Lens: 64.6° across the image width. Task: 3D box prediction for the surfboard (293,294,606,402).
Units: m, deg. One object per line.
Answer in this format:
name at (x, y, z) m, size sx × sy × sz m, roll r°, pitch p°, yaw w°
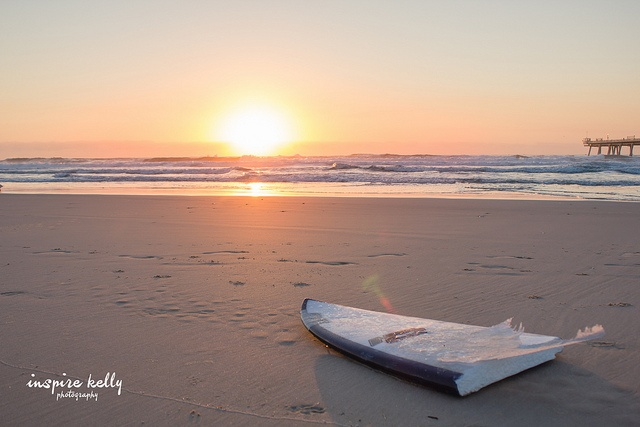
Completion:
surfboard at (1.626, 1.976, 7.672) m, size 3.424 × 0.402 × 1.729 m, roll 2°, pitch 2°, yaw 38°
